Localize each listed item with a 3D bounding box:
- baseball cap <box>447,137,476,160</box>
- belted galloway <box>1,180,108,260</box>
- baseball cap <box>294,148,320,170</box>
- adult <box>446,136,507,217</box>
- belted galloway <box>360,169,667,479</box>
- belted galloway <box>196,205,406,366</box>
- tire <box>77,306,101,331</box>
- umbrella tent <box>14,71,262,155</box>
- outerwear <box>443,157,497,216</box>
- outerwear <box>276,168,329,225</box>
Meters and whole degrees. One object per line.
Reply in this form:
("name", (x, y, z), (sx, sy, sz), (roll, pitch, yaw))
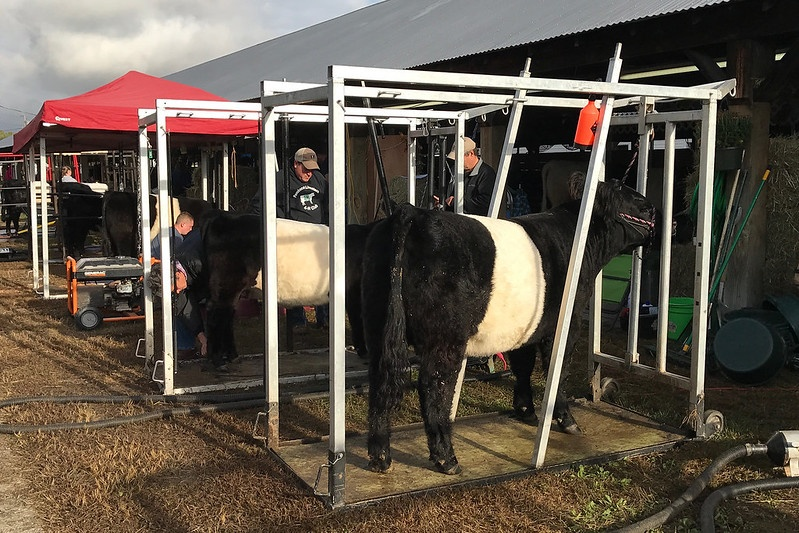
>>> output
("baseball cap", (0.687, -1.281, 8.336), (0.319, 0.186, 0.216), (-6, 9, -27))
("belted galloway", (-6.909, -0.944, 15.642), (1.710, 1.339, 1.130), (1, -5, -12))
("baseball cap", (-1.045, -1.256, 8.805), (0.286, 0.164, 0.197), (32, 26, 25))
("adult", (0.775, -0.930, 8.601), (0.488, 0.931, 0.553), (-17, 14, -36))
("belted galloway", (0.989, 0.587, 6.717), (2.505, 1.896, 0.761), (-4, 3, -36))
("belted galloway", (-0.804, 0.194, 7.469), (2.273, 1.422, 0.616), (-1, 1, -13))
("tire", (-3.878, 0.659, 9.693), (0.198, 0.201, 0.101), (-42, 12, -14))
("umbrella tent", (-4.018, -2.319, 11.574), (2.583, 1.277, 5.871), (-6, 13, -32))
("outerwear", (0.788, -0.883, 8.707), (0.429, 0.621, 0.704), (5, -2, -40))
("outerwear", (-1.093, -0.786, 8.608), (0.682, 0.739, 0.385), (-1, 1, -36))
